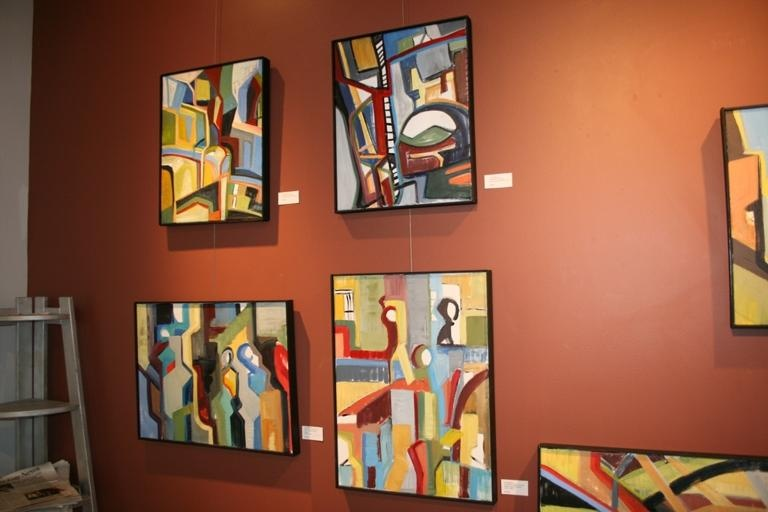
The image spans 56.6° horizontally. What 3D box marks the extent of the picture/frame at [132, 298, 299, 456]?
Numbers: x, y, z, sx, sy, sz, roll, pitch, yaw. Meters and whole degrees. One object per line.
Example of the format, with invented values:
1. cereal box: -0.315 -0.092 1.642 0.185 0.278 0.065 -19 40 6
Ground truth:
1. picture/frame: -1.004 0.748 4.454 0.846 0.766 0.032 1 2 25

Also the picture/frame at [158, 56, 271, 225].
1. picture/frame: -1.034 -0.703 4.468 0.891 1.302 0.118 1 0 27

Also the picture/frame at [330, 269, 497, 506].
1. picture/frame: 0.211 0.761 4.120 1.153 1.859 0.127 0 0 24

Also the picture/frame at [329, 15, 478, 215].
1. picture/frame: 0.148 -0.812 4.165 0.978 1.429 0.047 0 2 23
